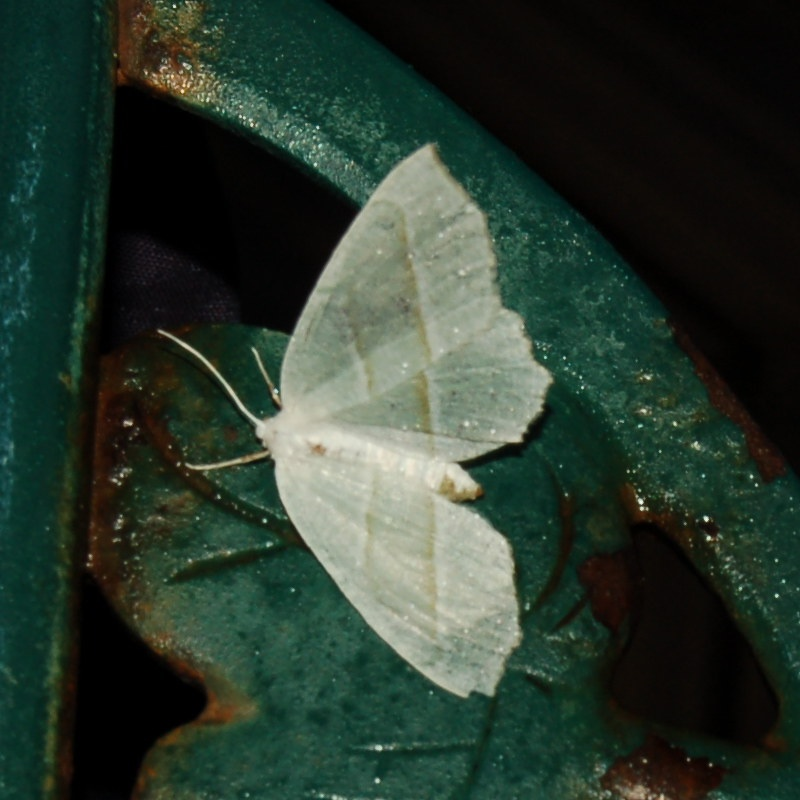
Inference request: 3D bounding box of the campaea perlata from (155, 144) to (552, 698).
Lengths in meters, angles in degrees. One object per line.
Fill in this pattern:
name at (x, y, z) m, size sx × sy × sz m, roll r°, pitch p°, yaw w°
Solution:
campaea perlata at (0.052, 0.062, 2.007) m, size 0.517 × 0.268 × 0.628 m, roll -42°, pitch 85°, yaw -12°
